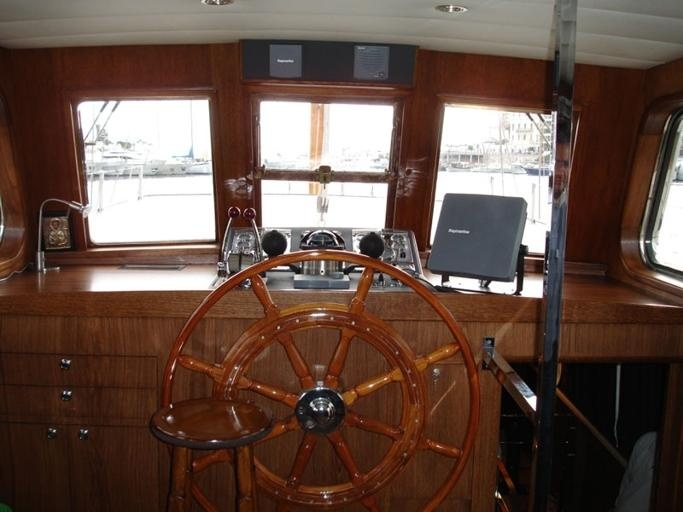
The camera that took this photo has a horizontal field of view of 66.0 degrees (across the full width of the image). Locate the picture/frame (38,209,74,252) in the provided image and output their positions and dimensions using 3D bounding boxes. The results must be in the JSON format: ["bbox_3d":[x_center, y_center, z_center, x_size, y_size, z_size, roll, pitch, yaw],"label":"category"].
[{"bbox_3d":[-1.639,-0.159,2.988,0.236,0.340,0.034,0,5,-10],"label":"picture/frame"}]

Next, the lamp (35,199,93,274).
[{"bbox_3d":[-1.572,-0.127,2.937,0.278,0.384,0.252,-1,9,-16],"label":"lamp"}]
